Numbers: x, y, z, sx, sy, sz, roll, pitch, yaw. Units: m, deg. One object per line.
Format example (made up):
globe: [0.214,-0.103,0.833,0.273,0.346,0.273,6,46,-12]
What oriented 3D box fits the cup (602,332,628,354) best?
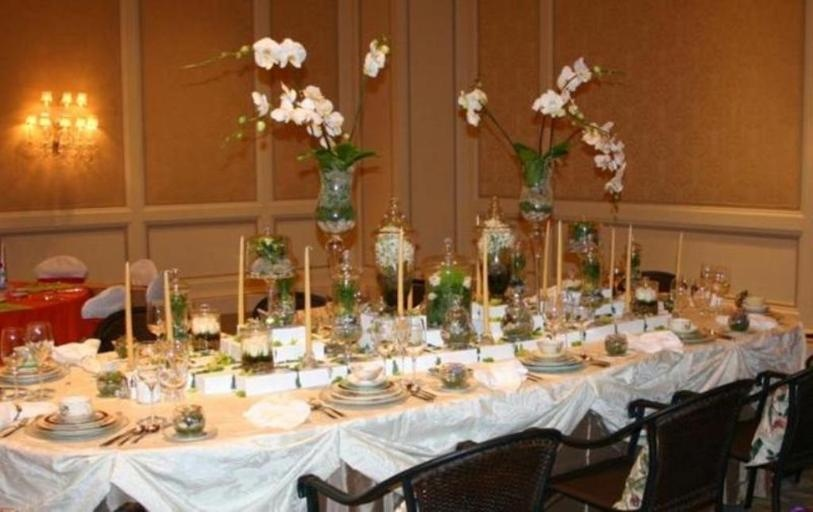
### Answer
cup: [1.213,0.505,3.886,0.111,0.093,0.110,-2,-4,0]

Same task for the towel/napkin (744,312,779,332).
towel/napkin: [2.346,0.408,4.388,0.148,0.058,0.173,7,5,40]

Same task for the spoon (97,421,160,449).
spoon: [-1.219,0.789,2.952,0.090,0.027,0.168,10,15,34]

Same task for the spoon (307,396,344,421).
spoon: [-0.385,0.722,3.155,0.064,0.060,0.219,-13,26,-39]

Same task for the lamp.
lamp: [-4.011,-1.466,7.624,0.860,0.819,0.236,-3,7,-37]

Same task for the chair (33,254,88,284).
chair: [-3.358,0.140,6.519,0.325,0.196,0.352,0,-1,-18]

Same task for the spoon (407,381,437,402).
spoon: [0.066,0.668,3.325,0.061,0.045,0.156,-18,27,-28]

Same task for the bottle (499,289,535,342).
bottle: [0.675,0.350,4.096,0.250,0.363,0.246,-1,3,0]

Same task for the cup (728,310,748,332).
cup: [2.118,0.416,4.312,0.120,0.127,0.122,0,-6,0]

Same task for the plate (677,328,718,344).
plate: [1.771,0.479,4.123,0.139,0.026,0.140,-5,5,-17]

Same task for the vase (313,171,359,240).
vase: [-0.411,-0.307,4.101,0.338,0.541,0.340,2,1,-4]

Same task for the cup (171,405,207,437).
cup: [-0.954,0.722,2.932,0.127,0.108,0.129,1,-13,0]

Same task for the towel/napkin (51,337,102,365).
towel/napkin: [-1.942,0.558,3.920,0.194,0.072,0.192,-5,9,-38]
